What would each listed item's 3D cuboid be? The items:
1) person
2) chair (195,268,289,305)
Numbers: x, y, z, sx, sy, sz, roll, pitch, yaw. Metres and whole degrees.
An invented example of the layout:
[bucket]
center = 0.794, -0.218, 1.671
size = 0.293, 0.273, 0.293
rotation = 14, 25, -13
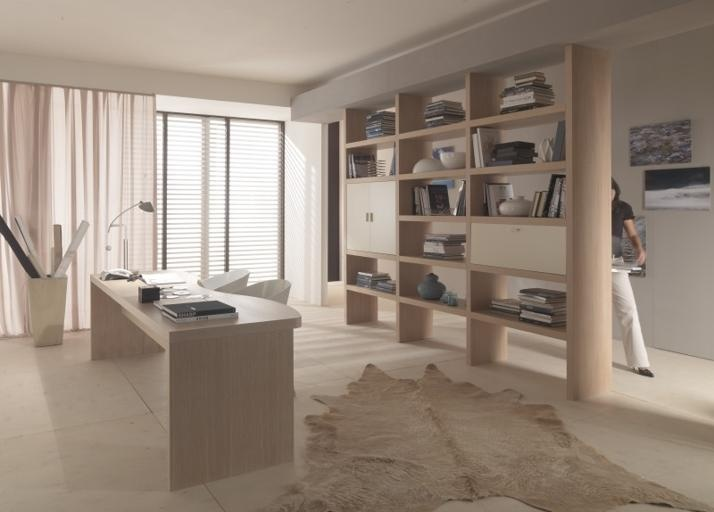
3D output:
[person]
center = 2.354, 0.181, 4.410
size = 0.466, 1.638, 0.314
rotation = 6, 12, 33
[chair]
center = -1.132, 0.316, 5.369
size = 0.670, 0.215, 0.500
rotation = 6, -7, -27
